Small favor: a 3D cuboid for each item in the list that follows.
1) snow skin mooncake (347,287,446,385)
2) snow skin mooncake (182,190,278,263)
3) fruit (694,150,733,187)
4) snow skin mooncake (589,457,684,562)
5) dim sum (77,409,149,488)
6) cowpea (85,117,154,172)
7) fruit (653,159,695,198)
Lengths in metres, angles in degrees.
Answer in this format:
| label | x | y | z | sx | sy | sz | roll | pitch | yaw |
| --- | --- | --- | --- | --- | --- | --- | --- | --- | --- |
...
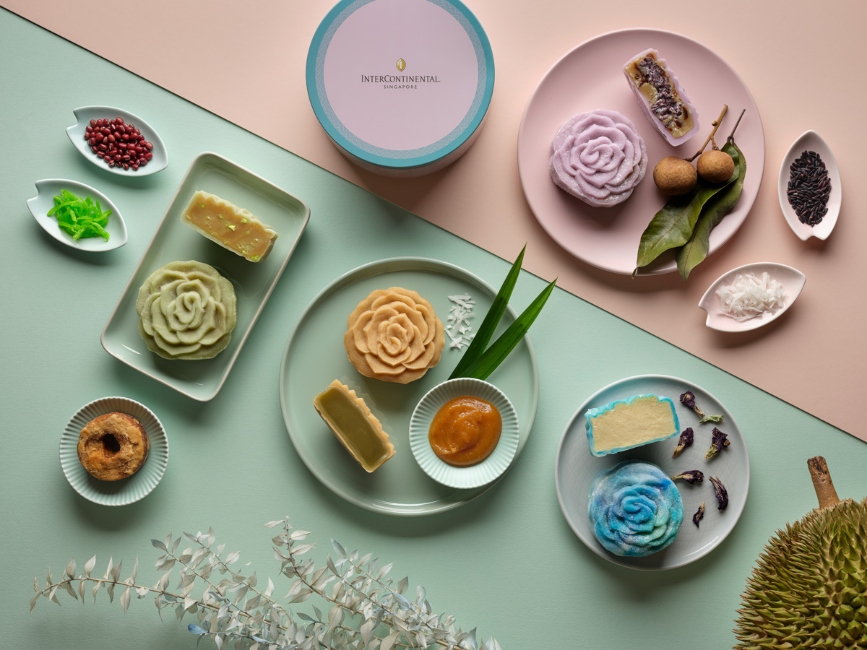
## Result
| label | x | y | z | sx | sy | sz | roll | pitch | yaw |
| --- | --- | --- | --- | --- | --- | --- | --- | --- | --- |
| snow skin mooncake | -0.103 | 0.031 | 1.947 | 0.213 | 0.256 | 0.076 | -25 | 0 | -1 |
| snow skin mooncake | -0.533 | -0.248 | 1.908 | 0.246 | 0.129 | 0.115 | 20 | -29 | -15 |
| fruit | 0.740 | -0.405 | 1.938 | 0.073 | 0.098 | 0.080 | 5 | 6 | 6 |
| snow skin mooncake | 0.523 | 0.474 | 1.896 | 0.232 | 0.226 | 0.084 | 1 | -26 | 16 |
| dim sum | -0.862 | 0.326 | 1.935 | 0.155 | 0.180 | 0.049 | 35 | -48 | -17 |
| cowpea | -0.851 | -0.486 | 1.973 | 0.106 | 0.152 | 0.148 | 32 | -42 | 40 |
| fruit | 0.629 | -0.381 | 1.902 | 0.082 | 0.105 | 0.073 | 0 | 8 | -2 |
